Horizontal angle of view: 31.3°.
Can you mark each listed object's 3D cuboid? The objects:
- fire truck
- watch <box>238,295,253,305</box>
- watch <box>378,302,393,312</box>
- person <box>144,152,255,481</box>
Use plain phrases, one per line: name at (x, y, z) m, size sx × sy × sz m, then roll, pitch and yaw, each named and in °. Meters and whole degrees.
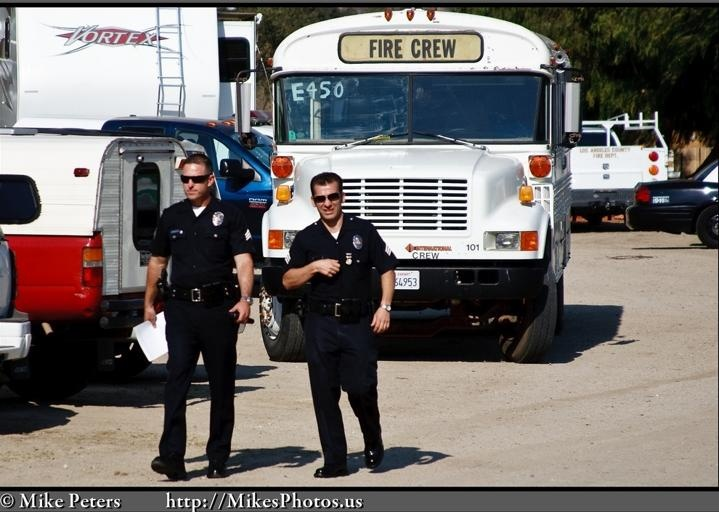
fire truck at (6.695, -2.376, 32.159) m, size 3.399 × 2.934 × 4.880 m, roll -3°, pitch -1°, yaw 8°
watch at (-1.047, 0.412, 11.784) m, size 0.107 × 0.073 × 0.113 m, roll 12°, pitch -15°, yaw -30°
watch at (0.215, 0.449, 11.681) m, size 0.113 × 0.068 × 0.115 m, roll 1°, pitch -27°, yaw 30°
person at (-1.505, 0.565, 11.903) m, size 1.123 × 2.810 × 0.923 m, roll 0°, pitch 5°, yaw 1°
